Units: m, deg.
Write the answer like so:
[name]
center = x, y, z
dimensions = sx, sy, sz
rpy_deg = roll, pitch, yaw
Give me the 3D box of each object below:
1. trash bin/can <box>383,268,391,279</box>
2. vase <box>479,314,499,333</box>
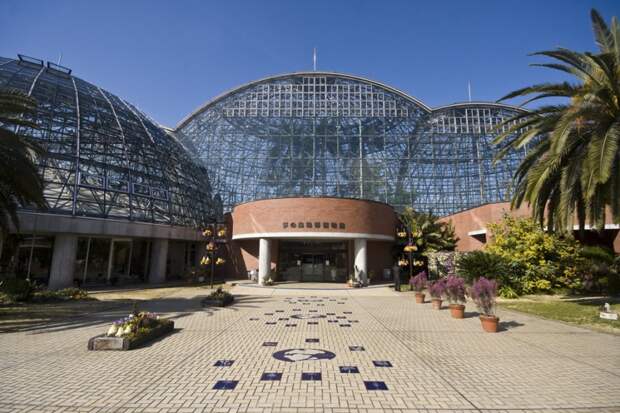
[trash bin/can]
center = 6.867, 6.101, 36.553
dimensions = 0.816, 1.132, 0.740
rpy_deg = 3, -10, -15
[vase]
center = 7.842, 5.177, 17.827
dimensions = 0.764, 0.537, 0.742
rpy_deg = 1, -17, 3
